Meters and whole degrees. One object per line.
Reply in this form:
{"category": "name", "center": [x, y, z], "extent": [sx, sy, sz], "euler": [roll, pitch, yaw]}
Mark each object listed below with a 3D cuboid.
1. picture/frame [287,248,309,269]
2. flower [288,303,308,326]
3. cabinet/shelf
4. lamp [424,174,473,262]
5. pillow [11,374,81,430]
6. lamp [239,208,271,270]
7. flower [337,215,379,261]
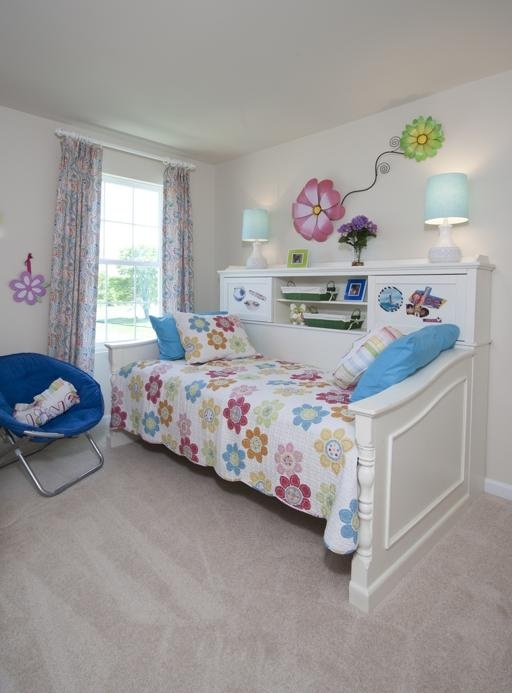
{"category": "picture/frame", "center": [0.294, -0.602, 3.720], "extent": [0.021, 0.189, 0.206], "euler": [17, -17, -41]}
{"category": "flower", "center": [0.289, -0.215, 3.617], "extent": [0.107, 0.144, 0.056], "euler": [-2, -10, 40]}
{"category": "cabinet/shelf", "center": [0.466, -0.262, 3.375], "extent": [1.804, 0.476, 0.334], "euler": [5, 1, 43]}
{"category": "lamp", "center": [0.983, -0.656, 2.793], "extent": [0.218, 0.438, 0.325], "euler": [5, 14, 20]}
{"category": "pillow", "center": [-1.168, 0.314, 3.007], "extent": [0.268, 0.099, 0.246], "euler": [-34, 71, -32]}
{"category": "lamp", "center": [0.000, -0.808, 4.024], "extent": [0.202, 0.430, 0.442], "euler": [0, 13, 0]}
{"category": "flower", "center": [0.588, -0.663, 3.353], "extent": [0.217, 0.273, 0.339], "euler": [-6, 14, -25]}
